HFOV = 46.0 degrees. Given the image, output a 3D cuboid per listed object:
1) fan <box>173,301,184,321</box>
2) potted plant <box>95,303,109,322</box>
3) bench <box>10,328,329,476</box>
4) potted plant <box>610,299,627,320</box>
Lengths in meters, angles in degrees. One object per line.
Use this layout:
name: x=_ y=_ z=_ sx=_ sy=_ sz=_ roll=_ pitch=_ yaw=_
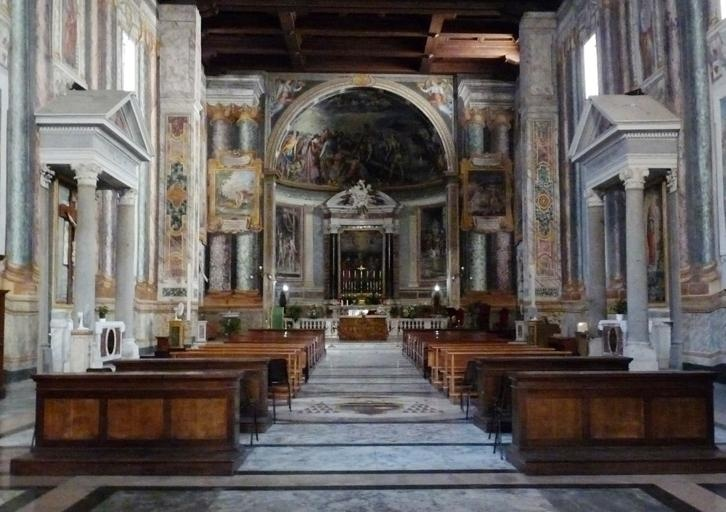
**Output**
fan: x=-5.060 y=1.529 z=23.650 sx=0.299 sy=0.599 sz=0.971 roll=-4 pitch=13 yaw=-12
potted plant: x=-5.861 y=1.283 z=19.238 sx=0.421 sy=0.424 sz=0.369 roll=1 pitch=-6 yaw=-9
bench: x=-2.883 y=2.059 z=14.171 sx=2.902 sy=1.563 sz=5.200 roll=1 pitch=13 yaw=11
potted plant: x=5.723 y=1.155 z=18.955 sx=0.372 sy=0.357 sz=0.358 roll=-1 pitch=2 yaw=-30
